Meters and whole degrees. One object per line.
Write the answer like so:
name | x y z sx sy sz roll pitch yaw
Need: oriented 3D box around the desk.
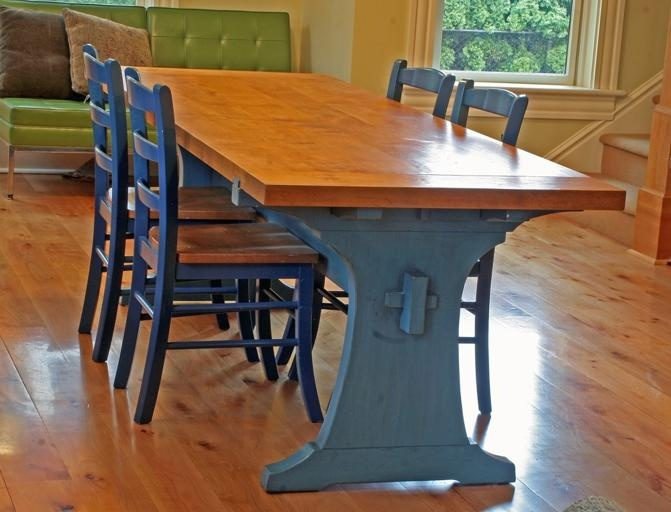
desk | 0.081 0.030 2.213 0.850 0.819 1.793 0 14 -8

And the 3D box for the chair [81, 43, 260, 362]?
chair | -0.442 -0.068 2.230 0.712 1.023 0.658 4 13 -14
